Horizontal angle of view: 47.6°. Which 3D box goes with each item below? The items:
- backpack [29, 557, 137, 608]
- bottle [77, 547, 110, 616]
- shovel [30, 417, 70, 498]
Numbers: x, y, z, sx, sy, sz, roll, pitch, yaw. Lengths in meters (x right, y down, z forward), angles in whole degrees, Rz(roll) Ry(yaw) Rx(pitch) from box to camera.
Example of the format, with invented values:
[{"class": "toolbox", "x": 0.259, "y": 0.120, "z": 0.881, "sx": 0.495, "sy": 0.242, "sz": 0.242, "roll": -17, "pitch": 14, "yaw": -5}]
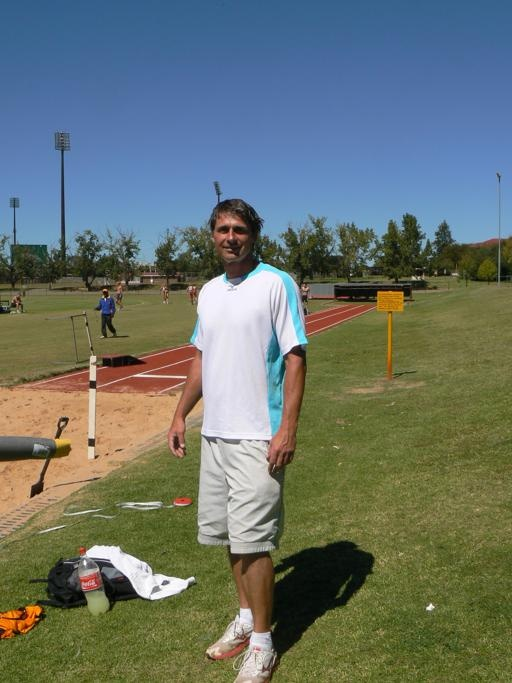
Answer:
[{"class": "backpack", "x": -0.921, "y": 1.315, "z": 3.144, "sx": 0.340, "sy": 0.110, "sz": 0.247, "roll": 3, "pitch": -3, "yaw": -11}, {"class": "bottle", "x": -0.861, "y": 1.246, "z": 3.077, "sx": 0.140, "sy": 0.290, "sz": 0.317, "roll": -4, "pitch": 3, "yaw": -21}, {"class": "shovel", "x": -2.123, "y": 1.219, "z": 5.926, "sx": 0.110, "sy": 0.935, "sz": 0.189, "roll": 18, "pitch": -5, "yaw": 17}]
